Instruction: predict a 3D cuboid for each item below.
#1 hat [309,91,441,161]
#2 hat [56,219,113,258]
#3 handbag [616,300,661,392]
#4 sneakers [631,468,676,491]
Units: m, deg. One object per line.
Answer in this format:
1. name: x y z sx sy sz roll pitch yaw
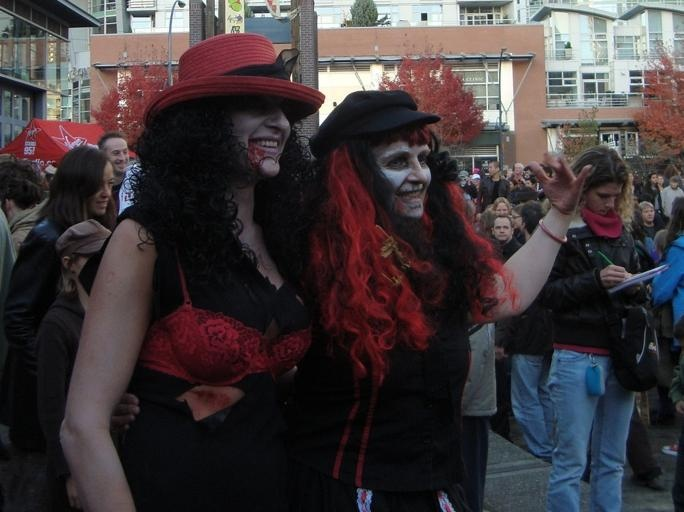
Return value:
1. hat: 0.094 -0.569 3.200 0.365 0.124 0.281 -22 -5 32
2. hat: -1.524 -0.099 4.396 0.204 0.097 0.153 -23 20 1
3. handbag: 2.048 0.637 5.146 0.378 0.467 0.245 0 1 -44
4. sneakers: 2.681 1.875 6.485 0.347 0.280 0.132 -1 4 29
